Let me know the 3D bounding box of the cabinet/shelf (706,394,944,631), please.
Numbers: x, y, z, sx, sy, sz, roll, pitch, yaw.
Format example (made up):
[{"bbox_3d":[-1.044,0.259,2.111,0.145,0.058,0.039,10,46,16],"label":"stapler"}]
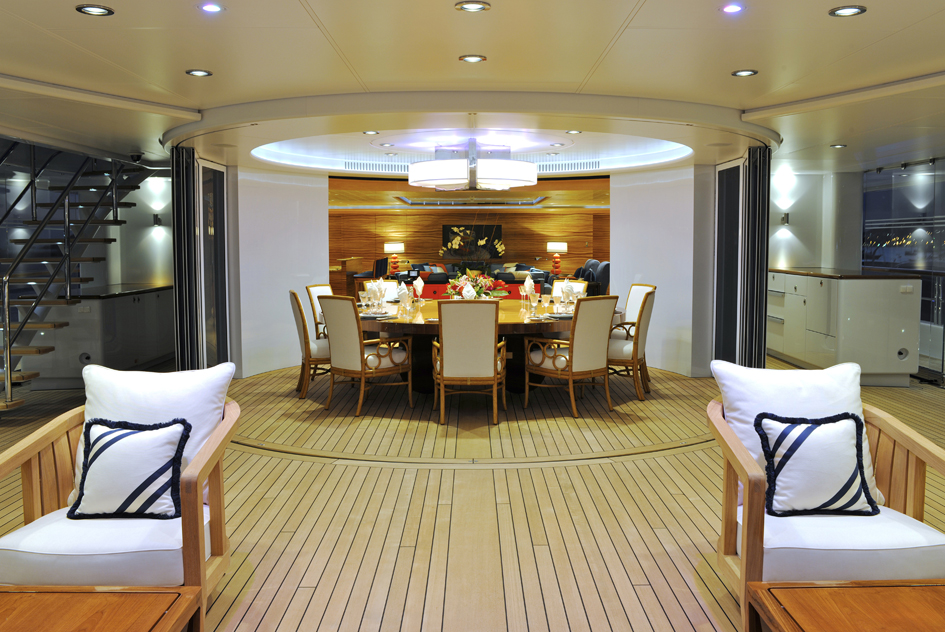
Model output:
[{"bbox_3d":[1.861,1.014,3.415,1.041,0.891,1.218,-2,-6,3],"label":"cabinet/shelf"}]

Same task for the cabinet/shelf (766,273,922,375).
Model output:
[{"bbox_3d":[5.017,0.063,8.359,1.270,1.565,2.351,0,2,-6],"label":"cabinet/shelf"}]

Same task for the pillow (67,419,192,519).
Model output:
[{"bbox_3d":[-1.756,0.807,3.095,0.481,0.398,0.167,0,-6,1],"label":"pillow"}]

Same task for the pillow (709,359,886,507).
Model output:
[{"bbox_3d":[1.769,0.554,3.402,0.872,0.814,0.462,1,-36,27],"label":"pillow"}]

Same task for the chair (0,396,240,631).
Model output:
[{"bbox_3d":[-1.820,0.992,3.342,1.065,1.021,1.225,-1,-3,-3],"label":"chair"}]

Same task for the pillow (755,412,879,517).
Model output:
[{"bbox_3d":[1.767,0.786,3.098,0.482,0.445,0.178,-2,-16,6],"label":"pillow"}]
